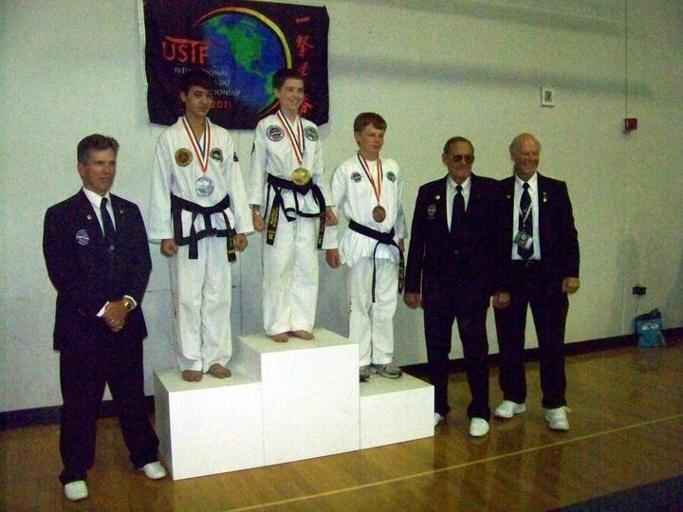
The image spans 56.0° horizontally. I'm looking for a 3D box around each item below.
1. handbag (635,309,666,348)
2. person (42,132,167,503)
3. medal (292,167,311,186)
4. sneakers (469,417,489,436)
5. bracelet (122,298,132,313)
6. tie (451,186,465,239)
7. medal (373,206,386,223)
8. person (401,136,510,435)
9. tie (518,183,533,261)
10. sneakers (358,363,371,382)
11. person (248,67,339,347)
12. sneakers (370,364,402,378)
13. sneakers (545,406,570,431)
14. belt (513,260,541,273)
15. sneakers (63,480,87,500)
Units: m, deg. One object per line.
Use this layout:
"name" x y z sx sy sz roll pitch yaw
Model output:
"handbag" 3.258 0.757 6.787 0.280 0.399 0.206 -10 16 10
"person" -1.479 0.494 3.979 0.626 1.855 0.463 -5 12 -20
"medal" -0.284 -0.559 4.483 0.122 0.123 0.048 -9 14 -33
"sneakers" 0.990 1.216 4.588 0.141 0.104 0.163 2 13 12
"bracelet" -1.334 0.298 3.993 0.054 0.066 0.070 -1 0 -12
"tie" 0.843 -0.339 4.617 0.094 0.332 0.127 1 11 10
"medal" 0.274 -0.307 4.662 0.084 0.117 0.026 -6 -1 -23
"person" 0.831 0.187 4.703 0.680 2.047 0.490 7 13 33
"tie" 1.347 -0.256 4.692 0.119 0.538 0.159 2 12 17
"sneakers" 0.165 0.856 4.732 0.120 0.165 0.050 4 -9 -5
"person" -0.368 -0.363 4.546 0.463 1.866 0.517 8 14 40
"sneakers" 0.336 0.857 4.878 0.228 0.113 0.094 1 4 25
"sneakers" 1.592 1.177 4.703 0.167 0.137 0.231 2 13 13
"belt" 1.358 0.070 4.693 0.209 0.089 0.021 1 11 7
"sneakers" -1.614 1.414 3.893 0.135 0.102 0.096 -6 13 -22
